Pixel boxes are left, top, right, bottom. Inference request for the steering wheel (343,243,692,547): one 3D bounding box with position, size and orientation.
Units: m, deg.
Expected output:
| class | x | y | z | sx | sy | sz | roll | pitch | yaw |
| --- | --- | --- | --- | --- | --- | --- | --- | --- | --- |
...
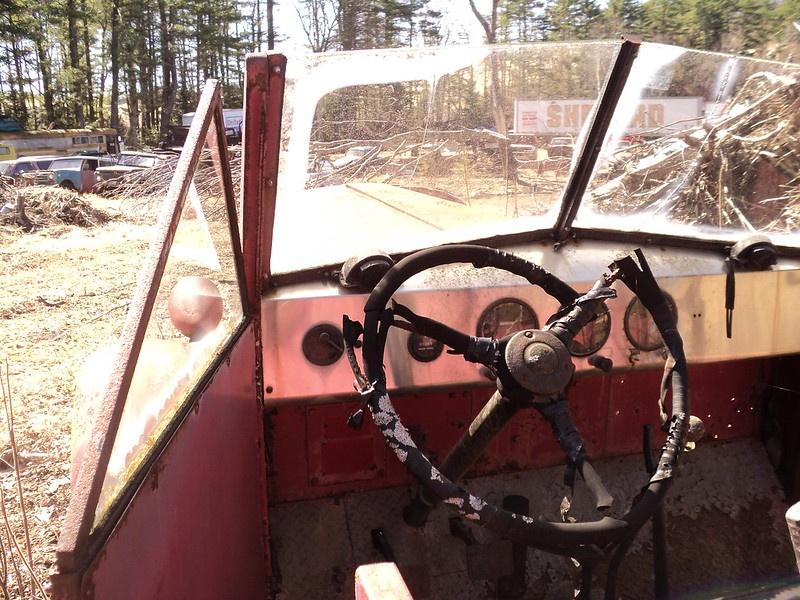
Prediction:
| class | x | y | z | sx | sy | sz | roll | pitch | yaw |
| --- | --- | --- | --- | --- | --- | --- | --- | --- | --- |
| steering wheel | 0.357 | 0.256 | 1.859 | 1.047 | 1.058 | 0.352 | -11 | 29 | 23 |
